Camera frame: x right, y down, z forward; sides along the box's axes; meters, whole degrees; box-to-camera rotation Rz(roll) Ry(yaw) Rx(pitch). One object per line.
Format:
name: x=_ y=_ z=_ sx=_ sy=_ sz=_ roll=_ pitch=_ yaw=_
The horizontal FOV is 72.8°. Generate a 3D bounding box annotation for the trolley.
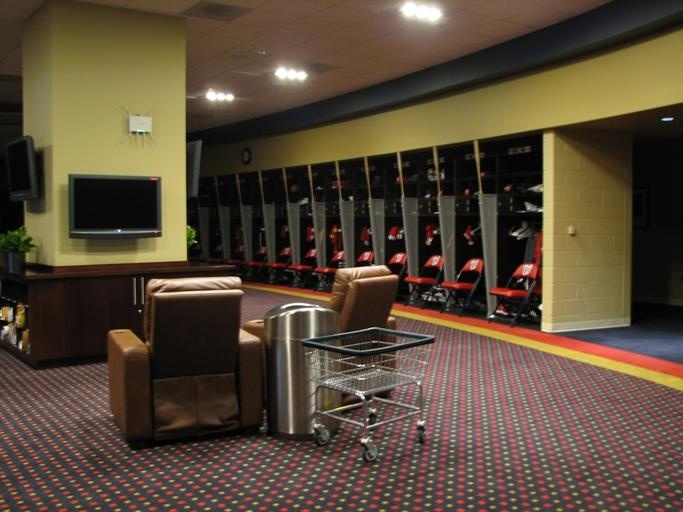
trolley: x=0.159 y=1.036 z=3.543 sx=0.796 sy=0.802 sz=0.942 roll=-4 pitch=-9 yaw=-15

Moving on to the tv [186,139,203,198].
tv: x=-2.267 y=-1.390 z=7.098 sx=0.175 sy=0.884 sz=1.187 roll=0 pitch=0 yaw=-17

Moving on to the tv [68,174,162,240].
tv: x=-2.957 y=-0.631 z=5.917 sx=1.072 sy=0.641 sz=0.077 roll=-1 pitch=3 yaw=-29
